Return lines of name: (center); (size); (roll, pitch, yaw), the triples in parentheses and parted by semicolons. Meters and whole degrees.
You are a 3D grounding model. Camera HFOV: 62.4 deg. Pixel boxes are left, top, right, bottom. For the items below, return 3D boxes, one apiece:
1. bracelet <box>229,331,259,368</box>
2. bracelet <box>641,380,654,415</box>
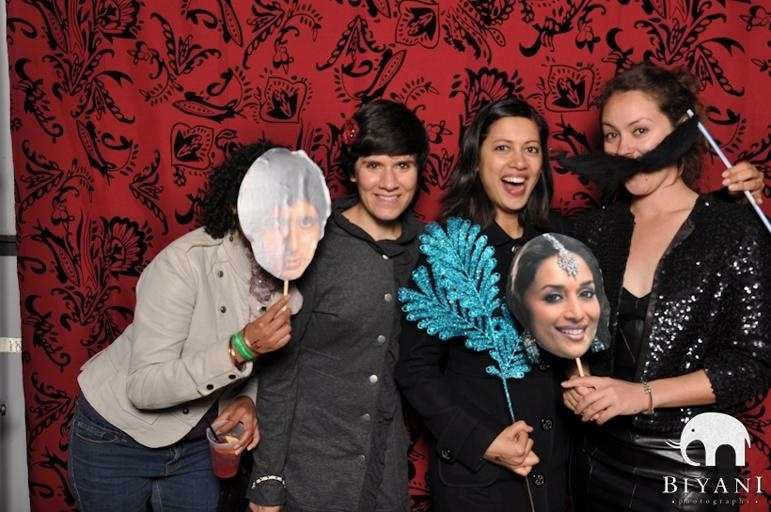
bracelet: (-0.514, 0.337, 2.287); (0.083, 0.113, 0.115); (-17, -15, 11)
bracelet: (0.922, 0.496, 2.241); (0.027, 0.088, 0.080); (2, 0, -5)
